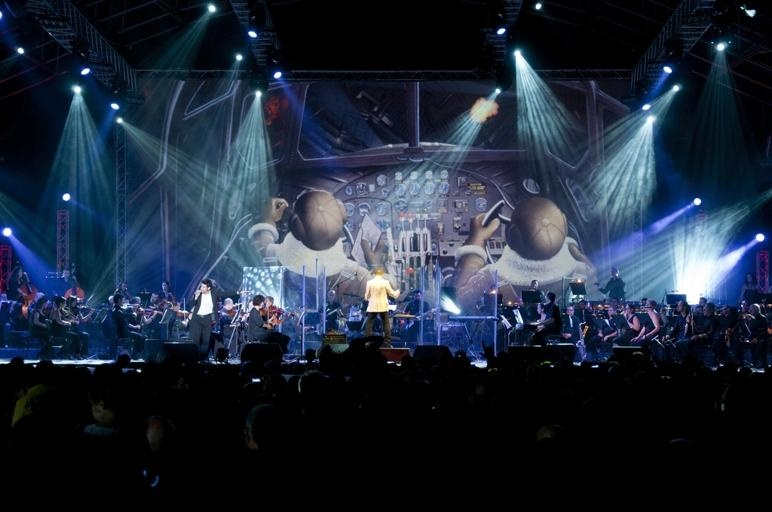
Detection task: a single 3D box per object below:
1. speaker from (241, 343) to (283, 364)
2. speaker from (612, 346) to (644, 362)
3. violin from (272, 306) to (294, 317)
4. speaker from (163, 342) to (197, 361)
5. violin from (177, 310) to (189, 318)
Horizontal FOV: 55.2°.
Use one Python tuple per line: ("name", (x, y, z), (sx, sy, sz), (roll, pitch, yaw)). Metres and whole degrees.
("speaker", (-2.688, 2.173, 16.301), (0.817, 0.585, 0.671), (7, -17, -31))
("speaker", (4.695, 1.902, 14.417), (0.418, 0.306, 0.590), (-1, 1, 11))
("violin", (-2.713, 1.542, 20.466), (0.720, 0.187, 0.364), (7, -6, -39))
("speaker", (-4.719, 2.197, 17.016), (0.614, 0.428, 0.450), (1, -4, -3))
("violin", (-5.884, 1.680, 21.579), (0.351, 0.131, 0.363), (-1, -3, 35))
